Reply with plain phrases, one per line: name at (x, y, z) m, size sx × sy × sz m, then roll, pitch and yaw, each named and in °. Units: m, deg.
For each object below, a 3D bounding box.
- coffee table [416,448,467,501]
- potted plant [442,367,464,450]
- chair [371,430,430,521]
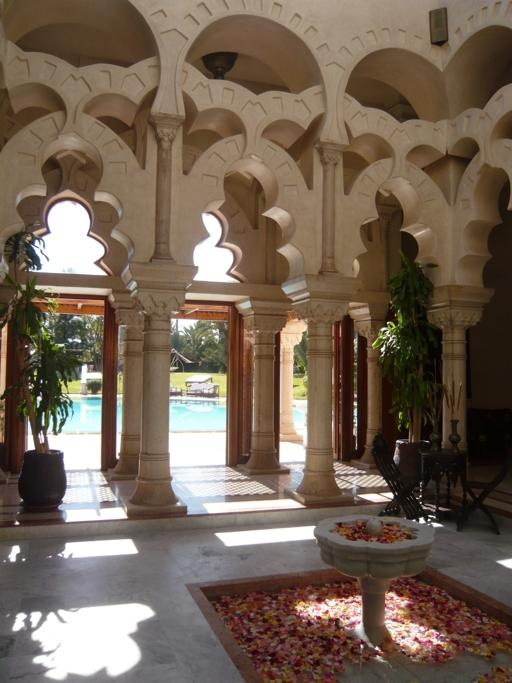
coffee table at (2.113, 1.477, 5.881) m, size 0.499 × 0.569 × 0.513 m, roll -2°, pitch -17°, yaw -18°
potted plant at (2.406, 0.848, 6.741) m, size 0.269 × 0.909 × 0.271 m, roll -2°, pitch -3°, yaw 28°
chair at (1.547, 1.551, 5.772) m, size 0.734 × 0.892 × 0.764 m, roll 2°, pitch -18°, yaw 7°
